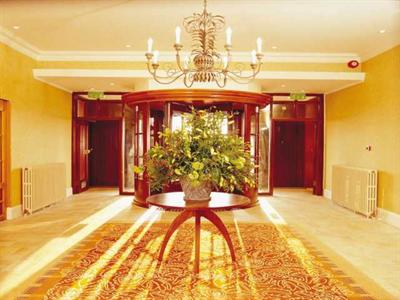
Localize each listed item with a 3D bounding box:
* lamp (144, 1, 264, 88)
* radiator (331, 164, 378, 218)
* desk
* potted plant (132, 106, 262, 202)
[{"bbox_3d":[0.025,-2.077,5.581,1.831,1.560,1.869,-1,2,-19],"label":"lamp"},{"bbox_3d":[3.746,0.970,6.826,0.299,0.810,1.310,0,2,-10],"label":"radiator"},{"bbox_3d":[-0.007,1.160,4.167,1.516,0.803,1.294,-1,-19,9],"label":"desk"},{"bbox_3d":[-0.064,0.208,4.136,1.502,1.068,1.066,23,-14,-40],"label":"potted plant"}]
